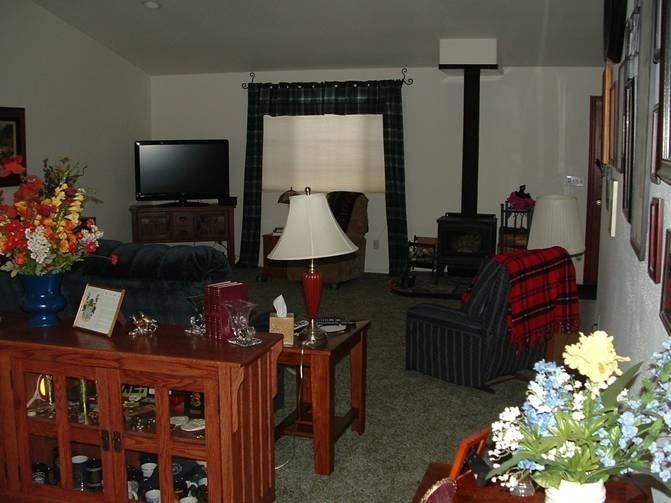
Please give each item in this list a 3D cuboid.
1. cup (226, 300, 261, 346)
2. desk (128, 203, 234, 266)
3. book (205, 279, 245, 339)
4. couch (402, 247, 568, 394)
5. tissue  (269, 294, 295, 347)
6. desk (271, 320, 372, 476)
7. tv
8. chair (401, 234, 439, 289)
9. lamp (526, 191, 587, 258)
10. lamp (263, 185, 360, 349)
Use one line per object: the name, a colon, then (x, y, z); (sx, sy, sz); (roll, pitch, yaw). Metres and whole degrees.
cup: (-0.440, 0.336, 2.617); (0.184, 0.241, 0.187); (0, 2, 0)
desk: (-2.249, -0.218, 7.889); (1.475, 0.923, 0.511); (-3, 4, -21)
book: (-0.524, 0.283, 2.539); (0.162, 0.294, 0.214); (4, 9, 26)
couch: (1.256, 0.484, 4.367); (1.329, 0.964, 1.356); (-2, 5, 3)
tissue : (-0.300, 0.382, 3.019); (0.130, 0.240, 0.131); (-1, 1, -4)
desk: (-0.139, 0.831, 3.319); (0.881, 0.641, 0.876); (-7, -13, -7)
tv: (-2.222, -1.160, 7.773); (0.994, 0.676, 0.084); (0, 3, -2)
chair: (1.269, 0.126, 7.331); (0.416, 0.611, 0.443); (-3, 7, 15)
lamp: (1.473, -0.190, 3.655); (0.395, 0.394, 0.399); (0, 2, 3)
lamp: (-0.125, 0.070, 3.051); (0.489, 0.869, 0.330); (-2, 10, -7)
